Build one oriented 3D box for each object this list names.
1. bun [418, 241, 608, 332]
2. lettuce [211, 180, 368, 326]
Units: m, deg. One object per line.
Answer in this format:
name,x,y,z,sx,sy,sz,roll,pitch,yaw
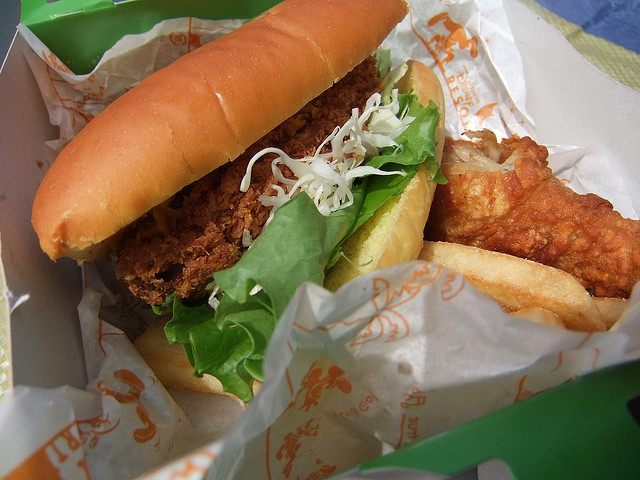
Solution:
bun,0.703,0.145,2.079,0.495,0.372,0.137,13,94,12
lettuce,-0.080,0.013,1.727,0.233,0.161,0.613,27,54,13
